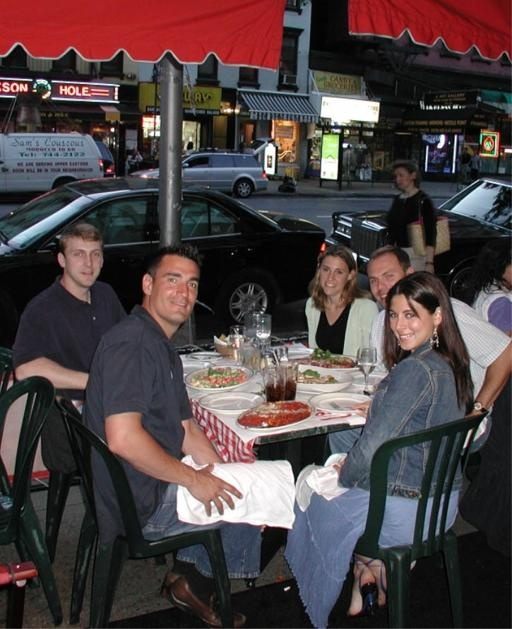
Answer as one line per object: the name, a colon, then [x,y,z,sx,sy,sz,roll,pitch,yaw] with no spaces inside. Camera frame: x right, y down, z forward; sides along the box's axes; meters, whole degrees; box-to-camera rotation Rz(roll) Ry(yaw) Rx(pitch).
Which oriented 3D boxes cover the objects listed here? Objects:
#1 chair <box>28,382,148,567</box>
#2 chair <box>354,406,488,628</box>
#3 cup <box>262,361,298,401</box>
chair: [-0.942,0.786,3.120,0.809,1.182,0.876,-2,6,-20]
chair: [0.629,0.925,2.090,0.467,1.122,0.569,5,10,27]
cup: [0.109,0.331,2.580,0.191,0.211,0.187,0,2,0]
